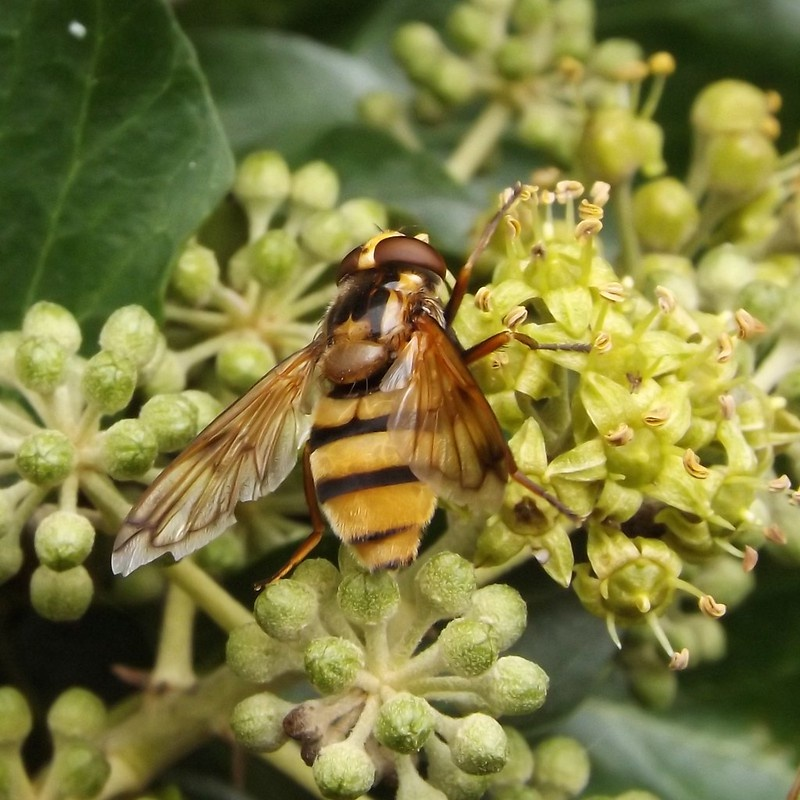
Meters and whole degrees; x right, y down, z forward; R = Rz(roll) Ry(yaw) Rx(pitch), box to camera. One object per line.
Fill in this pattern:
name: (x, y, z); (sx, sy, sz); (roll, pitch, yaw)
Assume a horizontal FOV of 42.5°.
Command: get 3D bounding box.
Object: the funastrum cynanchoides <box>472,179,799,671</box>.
funastrum cynanchoides: (0.256, 0.063, 1.212); (0.480, 0.207, 0.493); (-5, 73, 4)
